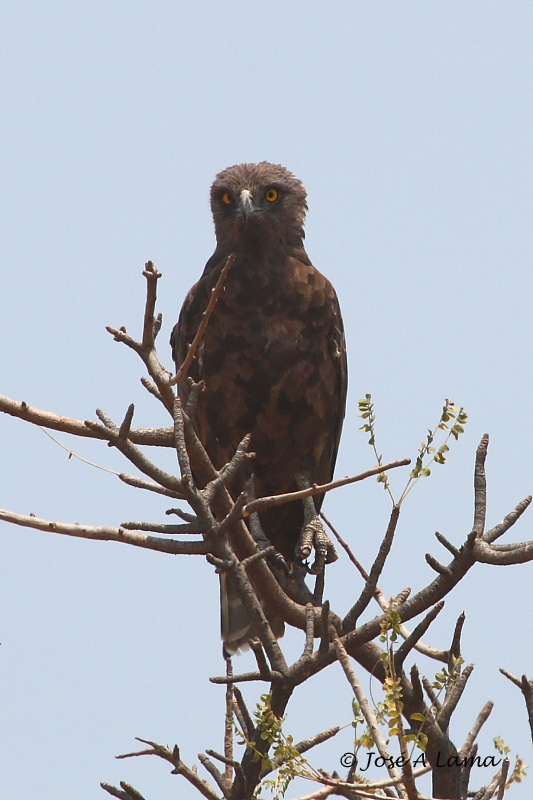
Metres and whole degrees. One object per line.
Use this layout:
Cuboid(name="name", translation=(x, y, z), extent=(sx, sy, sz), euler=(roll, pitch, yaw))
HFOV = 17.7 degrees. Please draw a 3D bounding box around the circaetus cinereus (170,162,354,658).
Cuboid(name="circaetus cinereus", translation=(0.008, 0.093, 8.139), extent=(0.740, 2.382, 2.457), euler=(-1, -53, 2))
